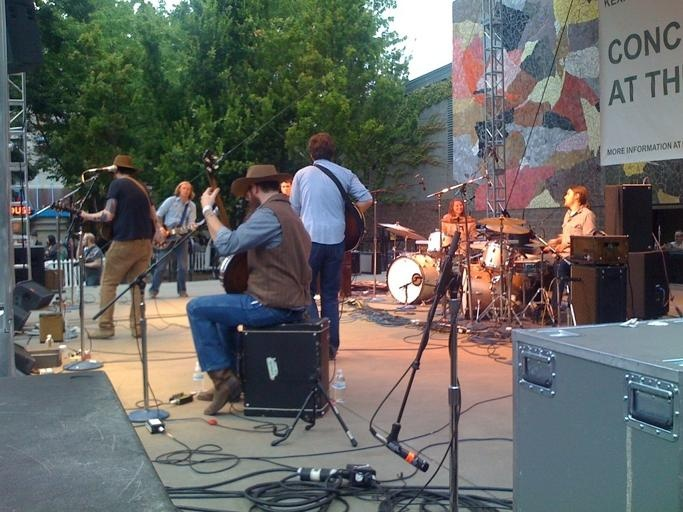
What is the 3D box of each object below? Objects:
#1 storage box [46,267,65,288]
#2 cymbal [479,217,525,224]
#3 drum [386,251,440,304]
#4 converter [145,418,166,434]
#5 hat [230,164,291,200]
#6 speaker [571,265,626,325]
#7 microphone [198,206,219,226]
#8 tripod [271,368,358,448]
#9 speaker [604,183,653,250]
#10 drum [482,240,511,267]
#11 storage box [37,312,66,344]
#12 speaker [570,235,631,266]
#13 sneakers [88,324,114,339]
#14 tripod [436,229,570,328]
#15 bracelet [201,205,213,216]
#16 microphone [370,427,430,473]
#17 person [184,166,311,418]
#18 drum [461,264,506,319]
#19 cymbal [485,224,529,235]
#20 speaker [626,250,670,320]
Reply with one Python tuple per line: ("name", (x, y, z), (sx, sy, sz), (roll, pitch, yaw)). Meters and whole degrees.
("storage box", (-4.929, 0.372, 12.981), (0.344, 0.392, 0.354), (1, -2, -30))
("cymbal", (2.014, -0.444, 9.411), (0.327, 0.089, 0.352), (1, 0, -2))
("drum", (1.066, 0.350, 11.509), (0.673, 0.888, 0.798), (10, -3, -43))
("converter", (-1.490, 1.366, 6.086), (0.145, 0.117, 0.201), (1, -1, -28))
("hat", (-0.758, -0.666, 6.577), (0.303, 0.131, 0.347), (-14, -5, -34))
("speaker", (2.970, 0.442, 8.785), (0.614, 0.675, 0.336), (0, 0, 19))
("microphone", (-1.120, -0.306, 6.435), (0.081, 0.158, 0.212), (-28, -16, -9))
("tripod", (-0.232, 1.224, 6.063), (0.585, 0.593, 0.499), (5, -9, -28))
("speaker", (3.853, -0.514, 10.157), (0.558, 0.867, 0.232), (0, 0, 14))
("drum", (1.975, -0.015, 9.723), (0.279, 0.294, 0.305), (5, -2, 8))
("storage box", (-3.376, 0.820, 8.848), (0.324, 0.511, 0.296), (2, 4, -21))
("speaker", (2.991, -0.073, 8.809), (0.633, 0.335, 0.271), (0, 0, 17))
("sneakers", (-2.935, 0.914, 9.077), (0.389, 0.188, 0.154), (4, 0, 10))
("tripod", (2.202, 0.419, 10.049), (1.389, 0.803, 1.507), (3, 1, 7))
("bracelet", (-1.144, -0.393, 6.393), (0.075, 0.062, 0.081), (1, -10, 1))
("microphone", (0.415, 1.420, 5.488), (0.539, 0.138, 0.168), (32, 14, 24))
("person", (-0.782, 0.277, 6.448), (1.037, 2.127, 0.645), (1, 0, -5))
("drum", (1.875, 0.463, 9.980), (0.346, 0.648, 0.607), (2, 6, -3))
("cymbal", (2.080, -0.364, 9.464), (0.290, 0.080, 0.309), (1, 15, -14))
("speaker", (4.053, 0.376, 9.997), (0.557, 0.862, 0.249), (1, 0, -16))
